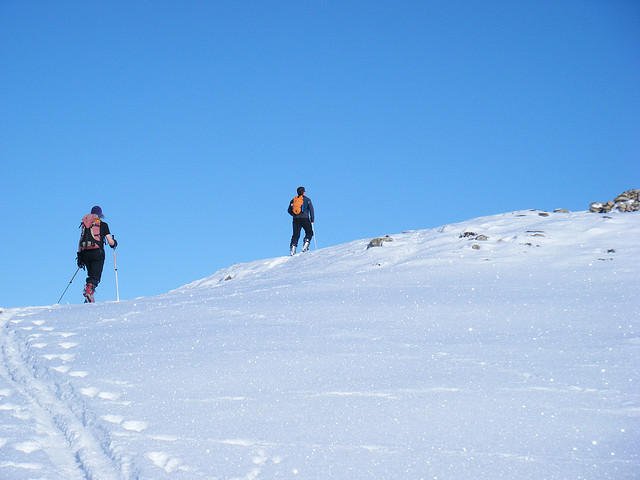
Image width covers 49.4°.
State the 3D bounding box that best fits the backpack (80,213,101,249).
[{"bbox_3d":[-5.121,-0.197,15.580,0.454,0.793,0.274,-2,-5,-19],"label":"backpack"}]

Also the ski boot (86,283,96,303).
[{"bbox_3d":[-4.982,1.129,15.173,0.175,0.423,0.544,-2,-5,-18],"label":"ski boot"}]

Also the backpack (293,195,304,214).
[{"bbox_3d":[-0.618,-1.035,20.317,0.351,0.500,0.200,-4,-5,4],"label":"backpack"}]

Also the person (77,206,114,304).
[{"bbox_3d":[-4.988,0.291,15.546,0.774,2.149,0.561,-2,-5,-20],"label":"person"}]
